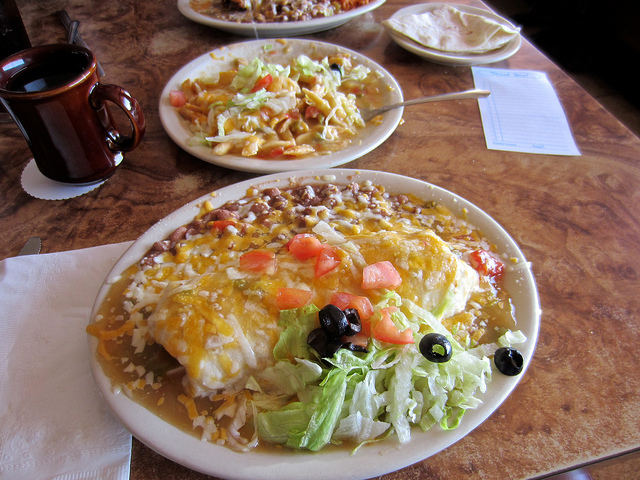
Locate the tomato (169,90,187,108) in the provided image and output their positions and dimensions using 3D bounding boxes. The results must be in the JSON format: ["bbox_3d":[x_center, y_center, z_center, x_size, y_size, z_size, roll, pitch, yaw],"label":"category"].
[{"bbox_3d":[-0.553,-0.537,1.989,0.083,0.059,0.077,3,60,-15],"label":"tomato"}]

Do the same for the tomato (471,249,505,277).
[{"bbox_3d":[0.481,0.068,1.448,0.080,0.032,0.066,42,57,18],"label":"tomato"}]

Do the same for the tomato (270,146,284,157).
[{"bbox_3d":[-0.151,-0.315,1.799,0.055,0.023,0.024,-26,92,-15],"label":"tomato"}]

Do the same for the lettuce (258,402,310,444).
[{"bbox_3d":[-0.084,0.438,1.209,0.116,0.037,0.082,-3,76,0],"label":"lettuce"}]

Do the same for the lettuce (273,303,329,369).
[{"bbox_3d":[-0.061,0.251,1.265,0.125,0.041,0.161,2,72,5],"label":"lettuce"}]

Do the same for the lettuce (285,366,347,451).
[{"bbox_3d":[0.010,0.408,1.237,0.080,0.068,0.246,29,60,1],"label":"lettuce"}]

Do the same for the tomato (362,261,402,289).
[{"bbox_3d":[0.164,0.090,1.337,0.108,0.029,0.075,0,62,-3],"label":"tomato"}]

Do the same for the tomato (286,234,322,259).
[{"bbox_3d":[-0.045,0.018,1.412,0.084,0.077,0.095,-17,65,-11],"label":"tomato"}]

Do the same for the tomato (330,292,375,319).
[{"bbox_3d":[0.084,0.168,1.298,0.096,0.027,0.058,7,43,7],"label":"tomato"}]

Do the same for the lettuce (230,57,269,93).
[{"bbox_3d":[-0.279,-0.643,1.990,0.151,0.153,0.053,-9,75,-32],"label":"lettuce"}]

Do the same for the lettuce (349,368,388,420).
[{"bbox_3d":[0.122,0.371,1.237,0.073,0.038,0.134,21,63,8],"label":"lettuce"}]

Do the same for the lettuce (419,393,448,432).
[{"bbox_3d":[0.278,0.419,1.220,0.037,0.023,0.101,39,67,16],"label":"lettuce"}]

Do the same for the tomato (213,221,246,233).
[{"bbox_3d":[-0.287,-0.046,1.536,0.052,0.017,0.052,-32,53,-31],"label":"tomato"}]

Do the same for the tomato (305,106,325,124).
[{"bbox_3d":[-0.020,-0.486,1.940,0.072,0.026,0.067,17,76,3],"label":"tomato"}]

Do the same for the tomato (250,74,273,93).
[{"bbox_3d":[-0.218,-0.594,1.948,0.091,0.038,0.051,-33,69,-18],"label":"tomato"}]

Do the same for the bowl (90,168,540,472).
[{"bbox_3d":[-0.008,0.162,1.371,1.209,0.192,0.899,-9,63,-7],"label":"bowl"}]

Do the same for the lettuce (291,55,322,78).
[{"bbox_3d":[-0.055,-0.692,2.087,0.106,0.038,0.099,22,49,4],"label":"lettuce"}]

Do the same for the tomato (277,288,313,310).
[{"bbox_3d":[-0.067,0.155,1.309,0.078,0.035,0.047,-15,84,0],"label":"tomato"}]

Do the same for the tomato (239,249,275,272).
[{"bbox_3d":[-0.172,0.058,1.383,0.095,0.031,0.068,-3,62,-5],"label":"tomato"}]

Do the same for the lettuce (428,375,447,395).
[{"bbox_3d":[0.286,0.356,1.236,0.045,0.013,0.031,30,50,31],"label":"lettuce"}]

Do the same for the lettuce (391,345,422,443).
[{"bbox_3d":[0.205,0.372,1.232,0.060,0.032,0.229,11,62,3],"label":"lettuce"}]
